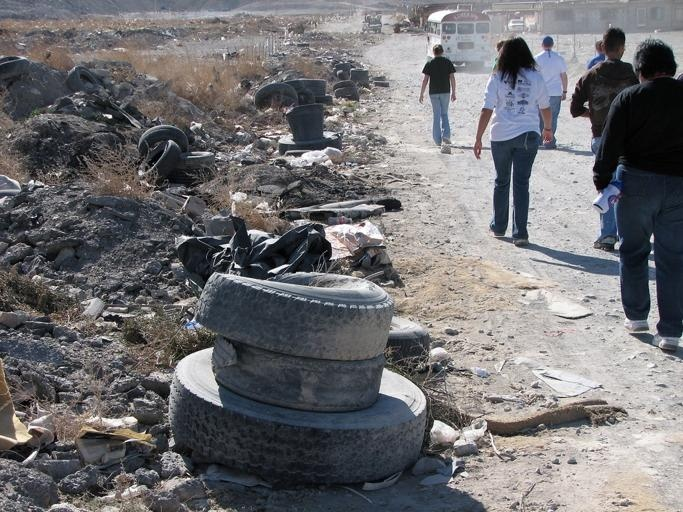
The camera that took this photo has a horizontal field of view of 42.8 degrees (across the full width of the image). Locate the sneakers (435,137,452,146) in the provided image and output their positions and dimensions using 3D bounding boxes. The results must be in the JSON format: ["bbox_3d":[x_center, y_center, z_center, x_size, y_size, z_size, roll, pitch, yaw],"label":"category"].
[{"bbox_3d":[2.044,-2.339,17.730,0.173,0.135,0.395,37,-26,-30],"label":"sneakers"}]

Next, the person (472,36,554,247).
[{"bbox_3d":[2.159,-1.429,10.985,0.896,2.592,0.667,3,15,11],"label":"person"}]

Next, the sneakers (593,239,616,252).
[{"bbox_3d":[3.272,-0.136,10.808,0.111,0.117,0.282,20,3,1],"label":"sneakers"}]

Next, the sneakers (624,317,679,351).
[{"bbox_3d":[3.056,0.764,8.610,0.194,0.232,0.547,0,13,-8],"label":"sneakers"}]

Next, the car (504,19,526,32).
[{"bbox_3d":[11.415,-14.947,56.775,0.962,0.724,2.146,1,22,12],"label":"car"}]
